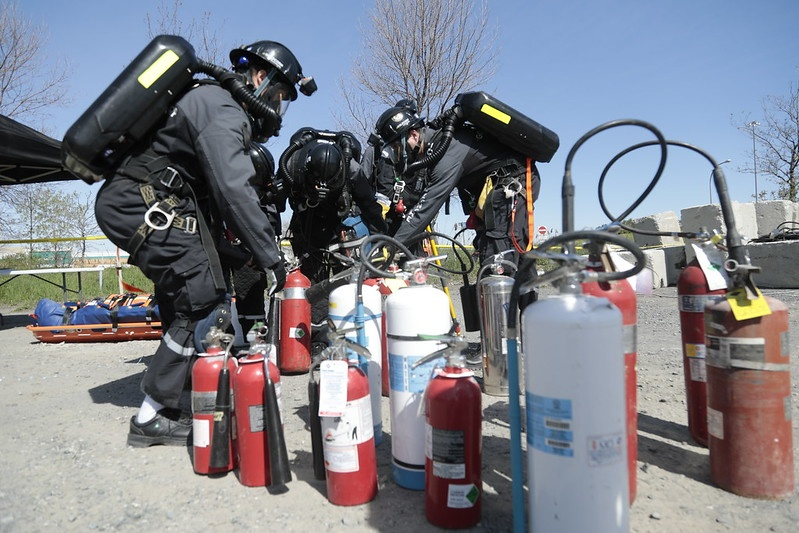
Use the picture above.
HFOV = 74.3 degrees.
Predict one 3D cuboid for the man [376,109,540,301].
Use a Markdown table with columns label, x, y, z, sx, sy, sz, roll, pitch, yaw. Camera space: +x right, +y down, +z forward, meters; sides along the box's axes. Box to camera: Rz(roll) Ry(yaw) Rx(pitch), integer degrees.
| label | x | y | z | sx | sy | sz | roll | pitch | yaw |
| --- | --- | --- | --- | --- | --- | --- | --- | --- | --- |
| man | 0.667 | -0.710 | 5.364 | 1.700 | 2.252 | 1.304 | -7 | 25 | 3 |

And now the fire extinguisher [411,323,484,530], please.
| label | x | y | z | sx | sy | sz | roll | pitch | yaw |
| --- | --- | --- | --- | --- | --- | --- | --- | --- | --- |
| fire extinguisher | 0.268 | 0.875 | 2.823 | 0.326 | 0.988 | 0.272 | 0 | 10 | 9 |

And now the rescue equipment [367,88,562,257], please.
| label | x | y | z | sx | sy | sz | roll | pitch | yaw |
| --- | --- | --- | --- | --- | --- | --- | --- | --- | --- |
| rescue equipment | 0.691 | -0.963 | 5.606 | 1.884 | 2.241 | 1.107 | -3 | 4 | 6 |

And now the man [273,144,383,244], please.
| label | x | y | z | sx | sy | sz | roll | pitch | yaw |
| --- | --- | --- | --- | --- | --- | --- | --- | --- | --- |
| man | -0.869 | -0.856 | 6.139 | 1.484 | 1.052 | 2.099 | 0 | -2 | -5 |

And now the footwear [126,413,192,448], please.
| label | x | y | z | sx | sy | sz | roll | pitch | yaw |
| --- | --- | --- | --- | --- | --- | --- | --- | --- | --- |
| footwear | -1.651 | 1.117 | 3.680 | 0.450 | 0.229 | 0.201 | -1 | -3 | -9 |

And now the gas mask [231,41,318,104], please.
| label | x | y | z | sx | sy | sz | roll | pitch | yaw |
| --- | --- | --- | --- | --- | --- | --- | --- | --- | --- |
| gas mask | -0.953 | -1.525 | 4.071 | 0.596 | 0.407 | 0.455 | 23 | -10 | -17 |

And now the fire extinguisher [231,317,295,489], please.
| label | x | y | z | sx | sy | sz | roll | pitch | yaw |
| --- | --- | --- | --- | --- | --- | --- | --- | --- | --- |
| fire extinguisher | -0.823 | 0.851 | 3.080 | 0.271 | 0.898 | 0.444 | -5 | 11 | -21 |

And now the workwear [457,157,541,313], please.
| label | x | y | z | sx | sy | sz | roll | pitch | yaw |
| --- | --- | --- | --- | --- | --- | --- | --- | --- | --- |
| workwear | 1.063 | -0.421 | 4.861 | 0.556 | 1.529 | 0.444 | -13 | -19 | 35 |

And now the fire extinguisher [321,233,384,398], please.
| label | x | y | z | sx | sy | sz | roll | pitch | yaw |
| --- | --- | --- | --- | --- | --- | --- | --- | --- | --- |
| fire extinguisher | -0.279 | 0.432 | 3.633 | 0.395 | 1.275 | 0.398 | -4 | 15 | -15 |

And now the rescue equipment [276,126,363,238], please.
| label | x | y | z | sx | sy | sz | roll | pitch | yaw |
| --- | --- | --- | --- | --- | --- | --- | --- | --- | --- |
| rescue equipment | -0.887 | -1.020 | 5.712 | 0.797 | 1.050 | 1.065 | 7 | -2 | -5 |
